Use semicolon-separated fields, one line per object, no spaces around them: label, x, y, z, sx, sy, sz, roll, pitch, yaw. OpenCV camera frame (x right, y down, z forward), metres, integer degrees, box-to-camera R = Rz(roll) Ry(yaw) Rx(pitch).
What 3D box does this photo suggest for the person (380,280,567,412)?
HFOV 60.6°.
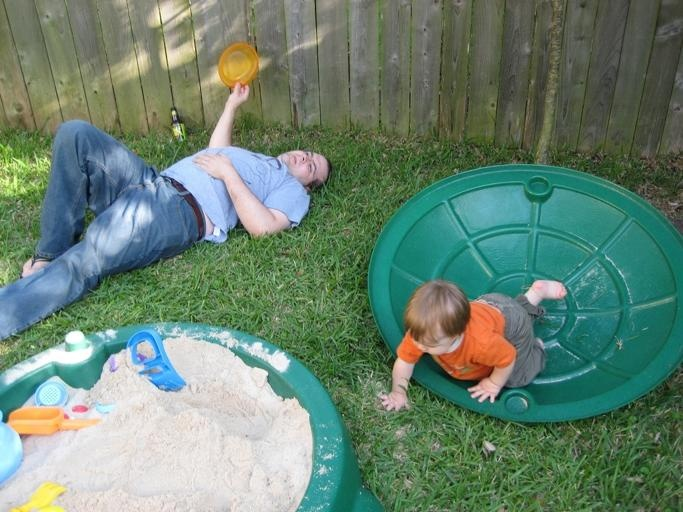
person;0.621;0.349;2.670;0.924;0.591;0.353;-12;30;-17
